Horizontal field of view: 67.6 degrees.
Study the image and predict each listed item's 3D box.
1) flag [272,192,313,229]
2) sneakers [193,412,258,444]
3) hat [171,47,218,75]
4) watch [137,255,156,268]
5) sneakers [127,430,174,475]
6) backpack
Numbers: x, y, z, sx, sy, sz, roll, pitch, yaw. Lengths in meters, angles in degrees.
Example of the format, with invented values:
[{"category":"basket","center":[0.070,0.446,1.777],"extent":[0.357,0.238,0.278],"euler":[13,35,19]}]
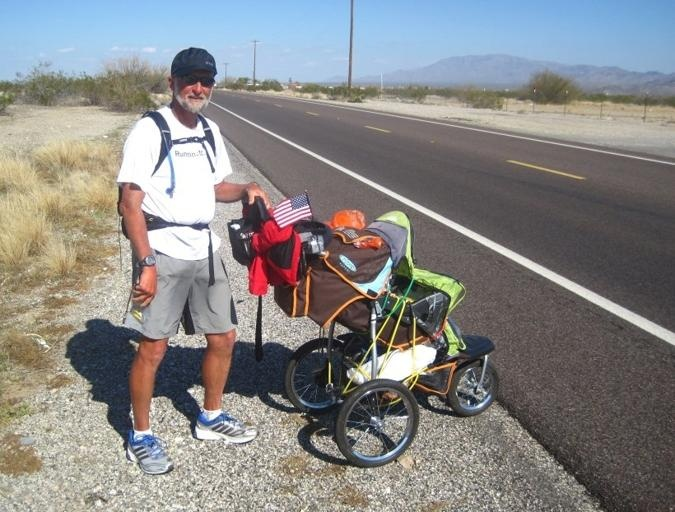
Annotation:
[{"category":"flag","center":[-0.283,-0.287,3.117],"extent":[0.258,0.203,0.208],"euler":[-9,22,-19]},{"category":"sneakers","center":[-0.775,1.205,3.508],"extent":[0.392,0.216,0.198],"euler":[5,7,-8]},{"category":"hat","center":[-0.899,-1.201,3.130],"extent":[0.266,0.168,0.228],"euler":[-8,22,-15]},{"category":"watch","center":[-1.140,0.033,3.024],"extent":[0.081,0.067,0.093],"euler":[-11,1,32]},{"category":"sneakers","center":[-1.229,1.287,3.280],"extent":[0.328,0.175,0.180],"euler":[20,10,24]},{"category":"backpack","center":[-1.065,-0.529,3.214],"extent":[0.603,0.762,0.402],"euler":[-8,20,-16]}]
